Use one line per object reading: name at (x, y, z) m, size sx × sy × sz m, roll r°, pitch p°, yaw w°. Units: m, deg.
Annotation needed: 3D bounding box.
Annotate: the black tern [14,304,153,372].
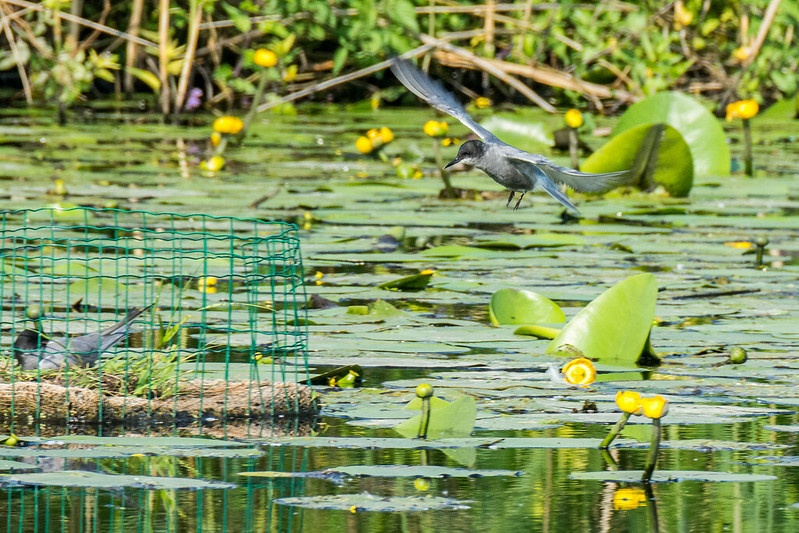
black tern at (-1.398, 0.323, 5.684) m, size 0.507 × 0.127 × 0.223 m, roll -16°, pitch -36°, yaw 4°
